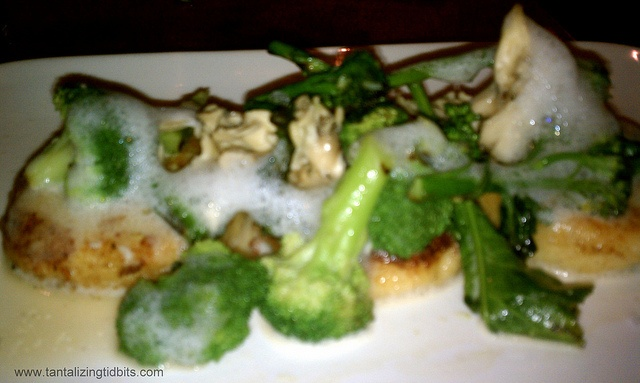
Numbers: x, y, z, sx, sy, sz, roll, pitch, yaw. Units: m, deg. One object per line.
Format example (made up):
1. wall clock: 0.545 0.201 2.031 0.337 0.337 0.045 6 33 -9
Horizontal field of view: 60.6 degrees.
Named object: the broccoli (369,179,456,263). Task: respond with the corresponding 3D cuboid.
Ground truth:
1. broccoli: 0.308 0.102 1.970 0.294 0.073 0.279 4 103 -22
